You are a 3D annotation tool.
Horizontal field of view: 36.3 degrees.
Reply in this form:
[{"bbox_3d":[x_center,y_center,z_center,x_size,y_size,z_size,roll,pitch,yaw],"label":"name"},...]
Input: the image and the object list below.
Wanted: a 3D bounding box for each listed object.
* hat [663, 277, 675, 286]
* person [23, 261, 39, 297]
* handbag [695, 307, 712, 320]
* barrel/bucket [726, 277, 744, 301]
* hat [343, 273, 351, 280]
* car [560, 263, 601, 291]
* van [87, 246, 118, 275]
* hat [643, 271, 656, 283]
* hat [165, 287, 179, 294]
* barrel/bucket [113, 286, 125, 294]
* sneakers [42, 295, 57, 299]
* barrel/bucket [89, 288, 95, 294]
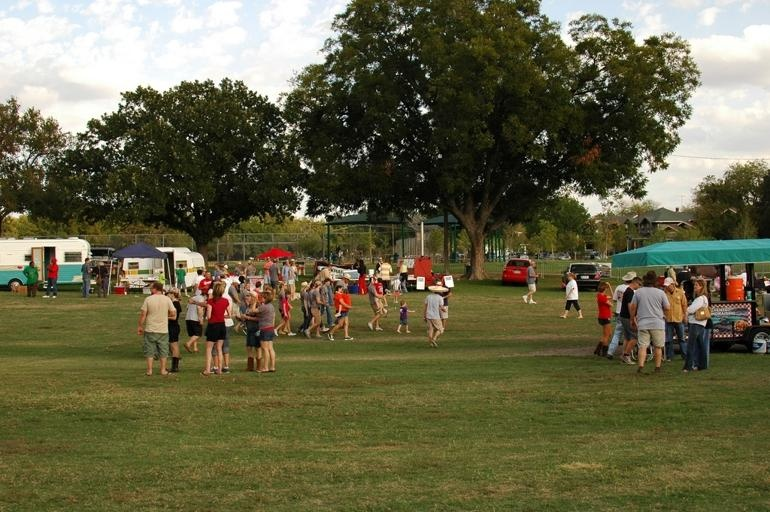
[{"bbox_3d":[10.452,0.829,43.354,0.312,0.224,0.447,-7,3,30],"label":"hat"},{"bbox_3d":[-18.907,1.036,62.721,0.544,1.860,1.044,0,-4,-8],"label":"person"},{"bbox_3d":[11.368,1.910,42.129,0.474,0.448,0.215,0,-5,-4],"label":"handbag"},{"bbox_3d":[13.761,1.155,46.096,0.861,0.902,0.840,0,-5,0],"label":"barrel/bucket"},{"bbox_3d":[-2.225,1.001,68.276,0.378,0.244,0.342,2,4,8],"label":"hat"},{"bbox_3d":[11.710,1.152,69.190,1.694,1.322,2.852,0,5,7],"label":"car"},{"bbox_3d":[-17.467,0.128,72.579,1.778,1.546,2.786,1,3,-3],"label":"van"},{"bbox_3d":[9.472,0.640,41.995,0.432,0.485,0.475,-1,-4,15],"label":"hat"},{"bbox_3d":[-8.067,1.183,44.528,0.475,0.121,0.461,0,2,-10],"label":"hat"},{"bbox_3d":[-14.953,1.722,66.195,0.462,0.271,0.451,-1,0,0],"label":"barrel/bucket"},{"bbox_3d":[-17.952,1.987,62.888,0.459,0.163,0.153,3,-6,4],"label":"sneakers"},{"bbox_3d":[-16.916,1.781,67.826,0.408,0.313,0.332,0,-4,-9],"label":"barrel/bucket"}]
